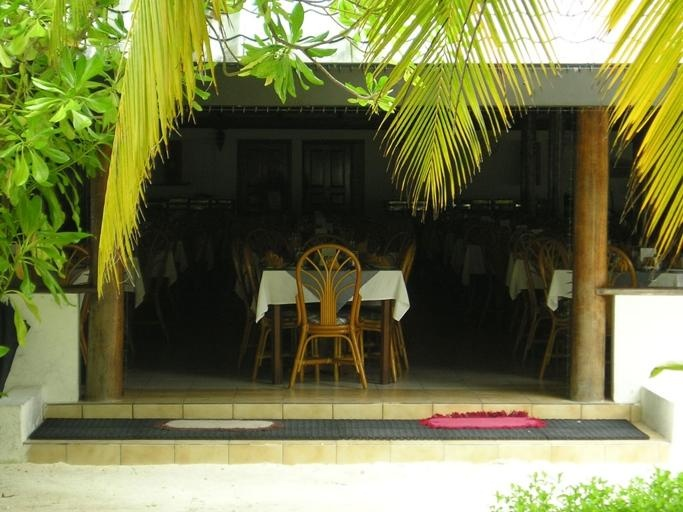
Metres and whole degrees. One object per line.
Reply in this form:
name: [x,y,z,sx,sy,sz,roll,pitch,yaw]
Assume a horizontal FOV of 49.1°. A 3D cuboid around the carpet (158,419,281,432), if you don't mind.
carpet: [-0.842,1.154,5.133,0.745,0.072,0.226,4,-1,-2]
